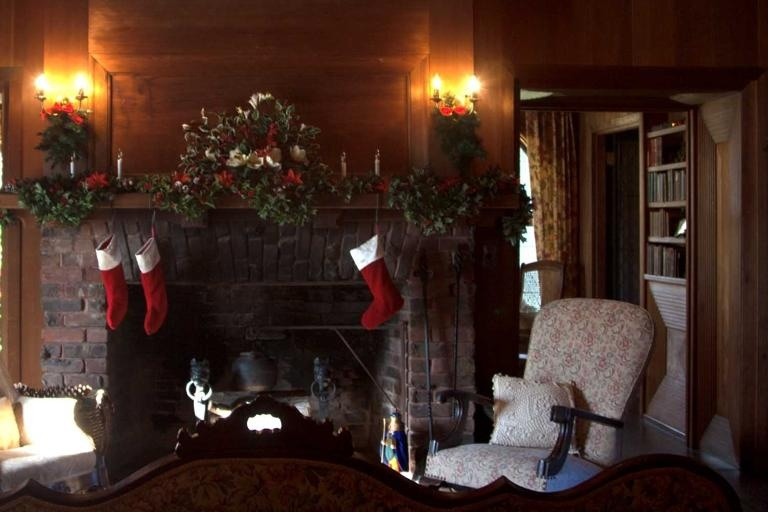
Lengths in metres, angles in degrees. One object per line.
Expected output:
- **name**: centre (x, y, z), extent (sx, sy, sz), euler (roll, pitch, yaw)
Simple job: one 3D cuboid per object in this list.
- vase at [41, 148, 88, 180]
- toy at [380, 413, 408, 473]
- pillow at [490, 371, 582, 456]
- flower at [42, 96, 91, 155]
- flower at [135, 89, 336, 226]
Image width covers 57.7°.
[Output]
- **vase**: centre (-2.164, -0.589, 4.719), extent (0.204, 0.142, 0.227), euler (-3, 3, 30)
- **toy**: centre (0.077, 1.234, 4.738), extent (0.180, 0.419, 0.459), euler (-1, 7, 0)
- **pillow**: centre (0.853, 0.932, 4.161), extent (0.400, 0.442, 0.169), euler (2, -10, 7)
- **flower**: centre (-2.163, -0.864, 4.746), extent (0.309, 0.391, 0.220), euler (-2, 1, -12)
- **flower**: centre (-0.891, -0.583, 4.513), extent (0.979, 0.984, 0.404), euler (3, 9, -5)
